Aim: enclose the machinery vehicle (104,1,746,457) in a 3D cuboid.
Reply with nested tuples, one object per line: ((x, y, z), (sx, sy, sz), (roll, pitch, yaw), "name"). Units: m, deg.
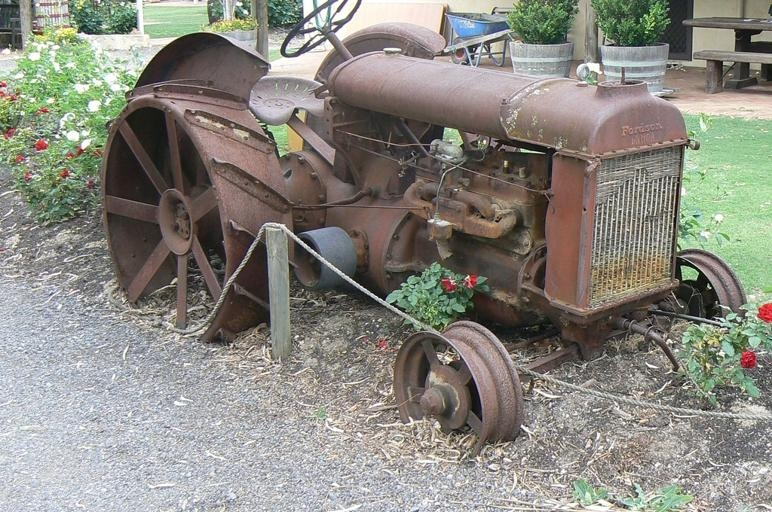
((-0.250, -0.561, 4.877), (3.205, 2.513, 4.410), (-21, 28, -38), "machinery vehicle")

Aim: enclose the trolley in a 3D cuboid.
((2.352, -5.139, 14.296), (1.140, 1.356, 2.246), (-16, 27, -36), "trolley")
